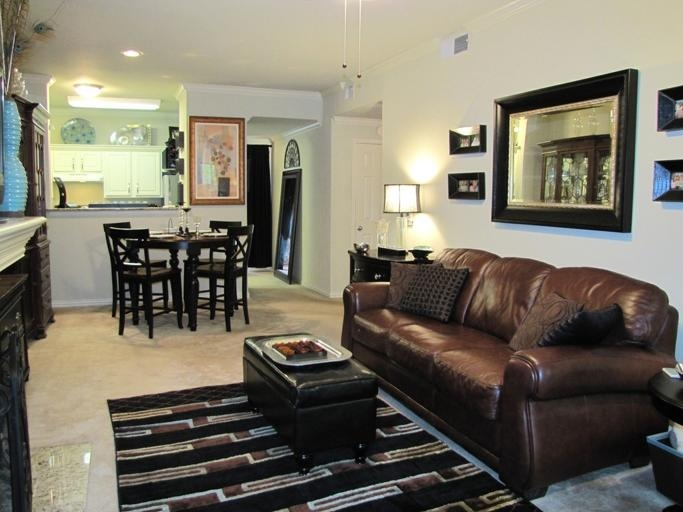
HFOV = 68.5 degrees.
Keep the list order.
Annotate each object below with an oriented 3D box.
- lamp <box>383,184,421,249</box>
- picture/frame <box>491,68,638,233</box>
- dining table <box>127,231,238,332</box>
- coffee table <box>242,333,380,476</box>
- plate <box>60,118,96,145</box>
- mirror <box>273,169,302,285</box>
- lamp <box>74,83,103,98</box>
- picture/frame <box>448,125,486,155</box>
[{"bbox_3d":[0.654,-0.422,5.458,0.399,0.705,0.408,3,10,15],"label":"lamp"},{"bbox_3d":[1.720,-0.799,3.797,0.105,1.300,1.378,-2,4,-27],"label":"picture/frame"},{"bbox_3d":[-1.762,0.237,5.712,0.995,1.017,1.086,6,8,42],"label":"dining table"},{"bbox_3d":[-0.174,0.673,3.233,0.592,0.608,1.166,2,2,-22],"label":"coffee table"},{"bbox_3d":[-4.810,-2.231,9.141,0.495,0.500,0.114,3,4,-14],"label":"plate"},{"bbox_3d":[-0.974,-0.504,9.112,0.140,2.960,2.162,5,0,-13],"label":"mirror"},{"bbox_3d":[-3.558,-2.301,6.959,0.229,0.089,0.231,2,9,13],"label":"lamp"},{"bbox_3d":[1.181,-1.078,4.717,0.112,0.257,0.436,-4,10,-25],"label":"picture/frame"}]
